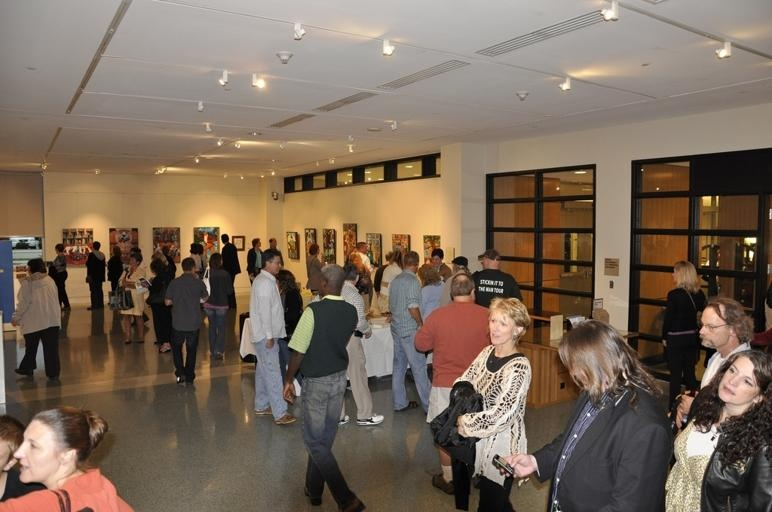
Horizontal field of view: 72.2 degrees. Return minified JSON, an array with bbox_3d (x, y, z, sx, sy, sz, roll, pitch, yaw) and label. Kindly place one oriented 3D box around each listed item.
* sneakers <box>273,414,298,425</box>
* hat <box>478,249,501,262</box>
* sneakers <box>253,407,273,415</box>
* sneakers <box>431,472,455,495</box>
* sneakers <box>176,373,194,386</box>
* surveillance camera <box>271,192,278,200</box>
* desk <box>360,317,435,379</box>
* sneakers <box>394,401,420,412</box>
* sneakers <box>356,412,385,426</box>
[{"bbox_3d":[-1.377,2.208,7.189,0.229,0.094,0.122,-3,-2,3],"label":"sneakers"},{"bbox_3d":[1.410,-0.018,7.456,0.250,0.160,0.377,0,3,-30],"label":"hat"},{"bbox_3d":[-1.752,2.174,7.493,0.243,0.103,0.093,0,-1,-13],"label":"sneakers"},{"bbox_3d":[0.599,2.410,5.636,0.100,0.113,0.289,3,-1,-35],"label":"sneakers"},{"bbox_3d":[-3.323,2.016,8.679,0.133,0.164,0.388,3,-6,-27],"label":"sneakers"},{"bbox_3d":[-3.980,-2.124,18.831,0.187,0.239,0.058,-4,8,-29],"label":"surveillance camera"},{"bbox_3d":[0.134,1.520,8.614,1.024,0.490,1.005,-1,2,-38],"label":"desk"},{"bbox_3d":[0.293,2.141,7.564,0.337,0.089,0.126,-6,11,-35],"label":"sneakers"},{"bbox_3d":[-0.213,2.166,7.138,0.370,0.165,0.133,-2,2,-25],"label":"sneakers"}]
